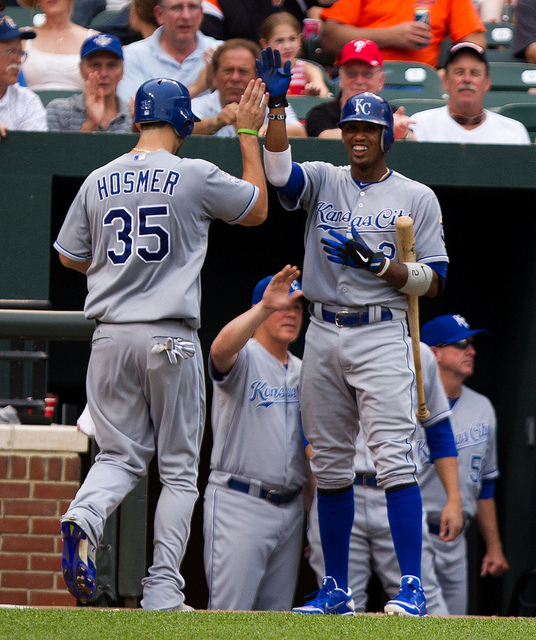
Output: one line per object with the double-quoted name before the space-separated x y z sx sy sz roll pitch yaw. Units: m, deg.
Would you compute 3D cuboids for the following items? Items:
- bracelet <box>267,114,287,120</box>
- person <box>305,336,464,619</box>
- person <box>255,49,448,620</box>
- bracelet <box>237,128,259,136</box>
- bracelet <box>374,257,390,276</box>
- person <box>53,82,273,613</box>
"bracelet" 0.029 -0.800 6.150 0.071 0.021 0.058 4 13 14
"person" 0.500 0.639 6.838 0.602 1.852 0.517 8 29 3
"person" 0.268 0.055 5.976 0.755 2.078 0.877 2 12 8
"bracelet" -0.081 -0.765 6.352 0.077 0.032 0.072 0 13 -5
"bracelet" 0.439 -0.202 5.940 0.056 0.070 0.035 -8 15 -33
"person" -0.382 0.111 5.964 0.761 1.956 0.856 0 12 -3
